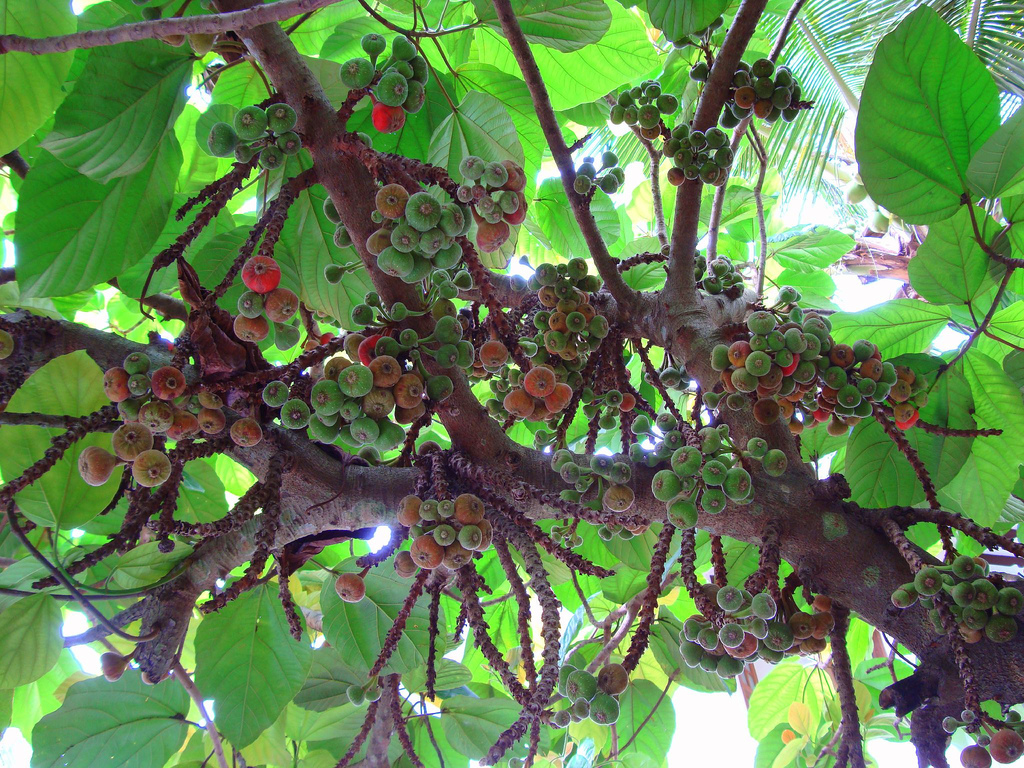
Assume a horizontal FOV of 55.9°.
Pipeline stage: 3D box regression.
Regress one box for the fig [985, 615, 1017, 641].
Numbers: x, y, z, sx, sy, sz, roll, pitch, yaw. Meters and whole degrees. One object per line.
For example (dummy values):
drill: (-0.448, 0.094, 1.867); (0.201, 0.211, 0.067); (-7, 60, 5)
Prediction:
fig: (1.254, 0.626, 2.480); (0.057, 0.077, 0.060); (0, -84, 13)
